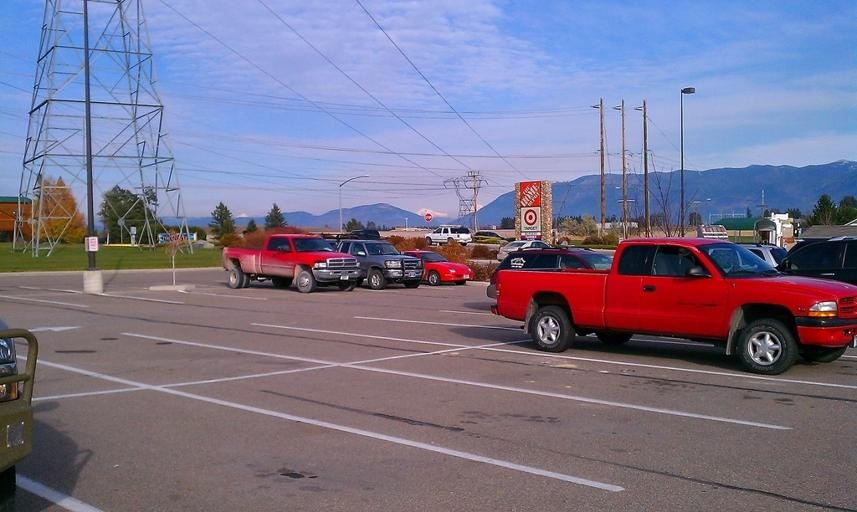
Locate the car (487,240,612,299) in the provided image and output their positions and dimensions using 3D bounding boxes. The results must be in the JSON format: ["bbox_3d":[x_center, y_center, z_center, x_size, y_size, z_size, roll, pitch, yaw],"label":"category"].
[{"bbox_3d":[3.453,0.386,19.244,3.751,1.181,1.670,-2,0,27],"label":"car"}]

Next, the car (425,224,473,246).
[{"bbox_3d":[2.365,-2.173,68.114,4.214,1.662,2.309,2,0,-4],"label":"car"}]

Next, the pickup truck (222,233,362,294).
[{"bbox_3d":[-6.079,0.323,29.092,5.339,1.853,3.129,-1,0,36],"label":"pickup truck"}]

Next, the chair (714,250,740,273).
[{"bbox_3d":[6.277,0.084,13.300,0.707,0.320,0.400,-1,6,24],"label":"chair"}]
